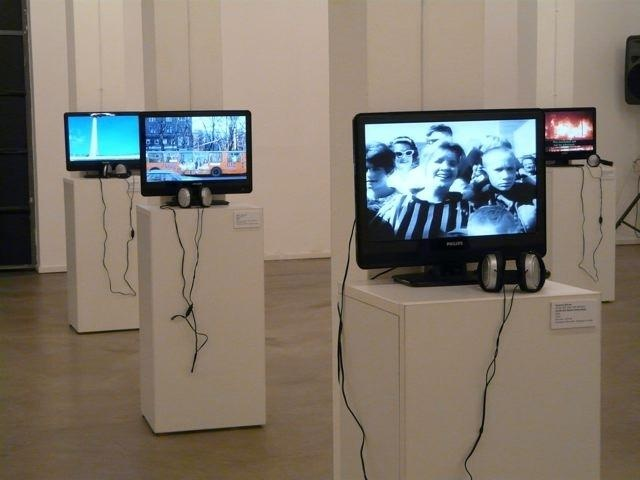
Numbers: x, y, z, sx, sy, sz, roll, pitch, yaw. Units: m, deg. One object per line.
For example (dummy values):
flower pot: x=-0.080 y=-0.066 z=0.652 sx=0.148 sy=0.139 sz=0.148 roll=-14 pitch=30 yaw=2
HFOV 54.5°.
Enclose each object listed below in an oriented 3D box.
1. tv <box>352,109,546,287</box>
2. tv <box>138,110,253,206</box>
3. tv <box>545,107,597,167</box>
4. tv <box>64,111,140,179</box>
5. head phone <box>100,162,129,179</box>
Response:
tv: x=0.504 y=-0.178 z=2.385 sx=0.610 sy=0.609 sz=0.233 roll=-1 pitch=0 yaw=-7
tv: x=-0.823 y=-0.556 z=4.077 sx=0.553 sy=0.518 sz=0.193 roll=-1 pitch=-3 yaw=-9
tv: x=2.641 y=-1.110 z=6.665 sx=0.691 sy=0.602 sz=0.347 roll=-7 pitch=10 yaw=-37
tv: x=-2.182 y=-0.963 z=6.226 sx=0.607 sy=0.570 sz=0.146 roll=0 pitch=-4 yaw=-4
head phone: x=-2.015 y=-0.675 z=6.101 sx=0.171 sy=0.130 sz=0.252 roll=0 pitch=-2 yaw=-10
